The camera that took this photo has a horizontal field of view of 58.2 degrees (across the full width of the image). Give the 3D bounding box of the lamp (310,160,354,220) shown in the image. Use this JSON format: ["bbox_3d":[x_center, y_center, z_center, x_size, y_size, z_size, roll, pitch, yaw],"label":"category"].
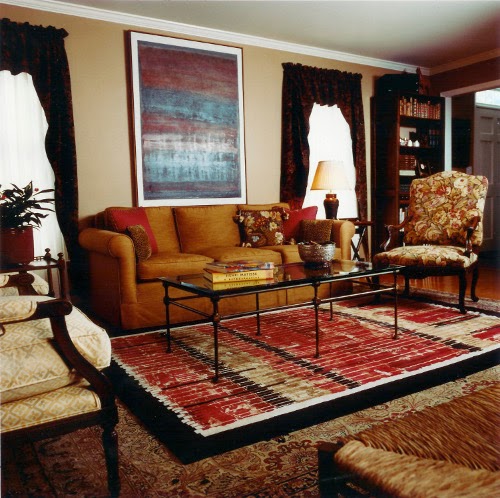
[{"bbox_3d":[0.847,-0.590,4.797,0.512,0.606,0.453,-1,4,21],"label":"lamp"}]

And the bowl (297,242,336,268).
[{"bbox_3d":[0.418,0.038,2.814,0.204,0.103,0.177,0,2,18],"label":"bowl"}]

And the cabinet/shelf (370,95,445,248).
[{"bbox_3d":[2.137,-1.223,5.743,0.650,1.319,0.240,-1,26,16],"label":"cabinet/shelf"}]

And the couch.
[{"bbox_3d":[-0.288,0.027,3.917,2.198,0.730,0.749,-7,15,-37],"label":"couch"}]
